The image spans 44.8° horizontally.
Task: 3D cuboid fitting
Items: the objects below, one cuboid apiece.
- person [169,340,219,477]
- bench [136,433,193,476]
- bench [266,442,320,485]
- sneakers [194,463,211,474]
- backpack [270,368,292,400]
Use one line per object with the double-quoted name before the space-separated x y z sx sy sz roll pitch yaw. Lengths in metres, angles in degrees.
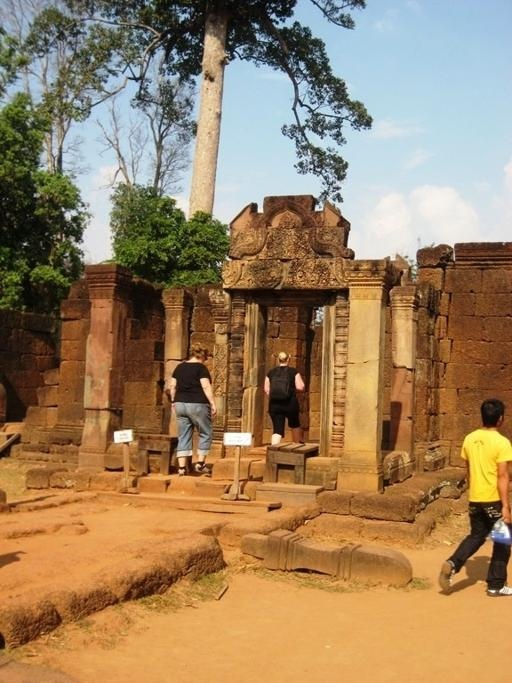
"person" -0.801 0.932 7.690 0.597 0.975 0.299 7 -4 -6
"bench" -1.236 1.421 8.074 0.702 0.600 0.523 -2 -11 9
"bench" 0.415 1.392 7.181 0.489 0.320 0.464 -2 -2 17
"sneakers" -0.670 1.575 7.741 0.110 0.121 0.291 3 -1 27
"backpack" 0.286 0.530 7.857 0.290 0.433 0.128 4 -5 32
